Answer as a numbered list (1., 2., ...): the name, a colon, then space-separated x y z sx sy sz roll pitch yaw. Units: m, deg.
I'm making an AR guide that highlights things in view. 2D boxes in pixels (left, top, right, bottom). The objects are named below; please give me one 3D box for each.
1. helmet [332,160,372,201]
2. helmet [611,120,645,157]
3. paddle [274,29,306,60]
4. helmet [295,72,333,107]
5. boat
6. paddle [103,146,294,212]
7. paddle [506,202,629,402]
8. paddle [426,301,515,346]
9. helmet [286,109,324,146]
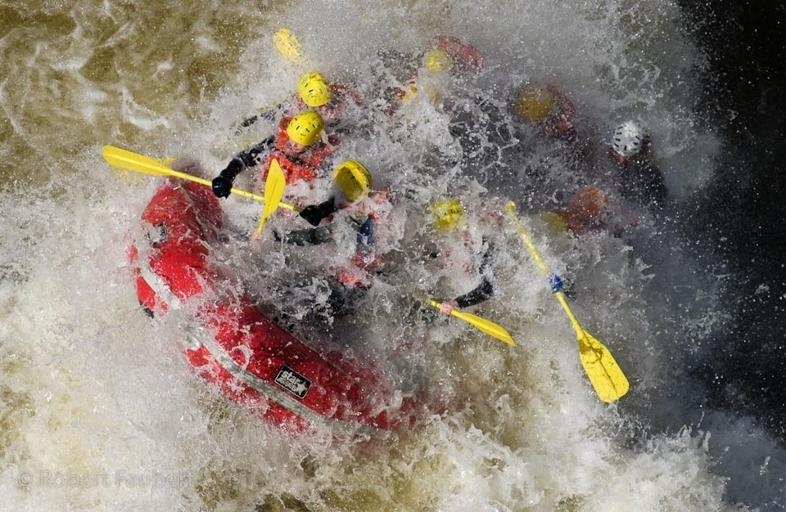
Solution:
1. helmet: -0.569 -1.054 15.155 0.533 0.195 0.466 44 120 4
2. helmet: 3.459 -1.693 15.923 0.469 0.147 0.488 19 86 -1
3. paddle: -1.531 -3.110 16.101 0.297 0.164 0.491 -42 94 3
4. helmet: -1.131 -2.362 15.577 0.386 0.275 0.523 -36 93 -9
5. boat: -1.963 0.598 16.592 1.270 4.436 3.775 -43 48 29
6. paddle: -2.783 -1.075 15.683 2.678 0.106 0.328 20 86 2
7. paddle: 2.527 0.816 15.820 0.528 0.323 3.142 -29 86 6
8. paddle: 1.089 0.958 15.691 1.095 0.086 0.167 30 82 13
9. helmet: -1.237 -1.777 15.451 0.402 0.409 0.532 41 94 -2
